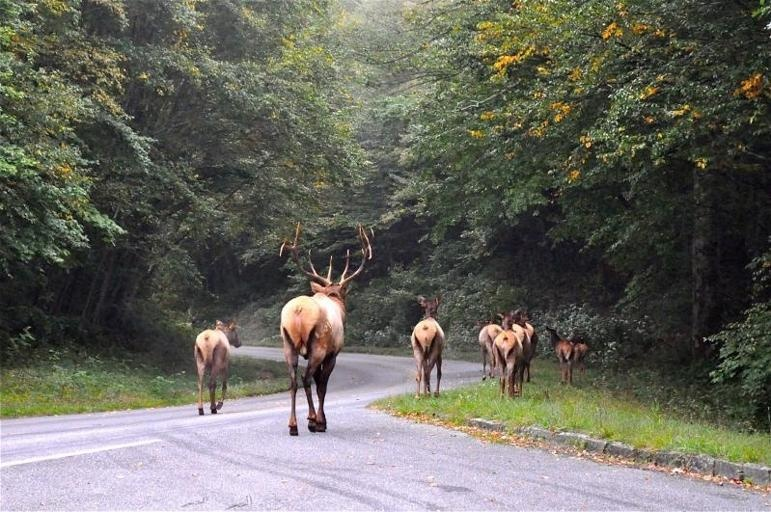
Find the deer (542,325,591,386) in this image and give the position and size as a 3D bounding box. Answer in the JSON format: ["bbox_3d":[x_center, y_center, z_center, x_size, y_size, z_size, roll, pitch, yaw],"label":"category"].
[{"bbox_3d":[7.746,3.914,34.377,1.094,2.678,3.686,0,5,-17],"label":"deer"}]

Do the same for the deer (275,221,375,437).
[{"bbox_3d":[-1.924,2.070,24.339,2.985,5.901,5.134,0,-5,13],"label":"deer"}]
